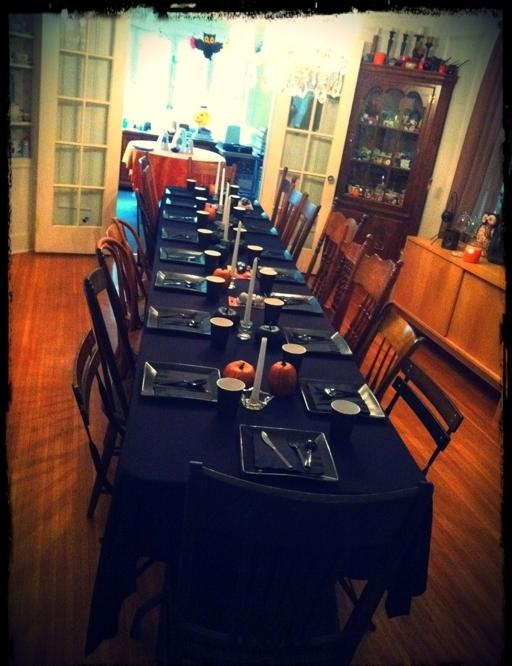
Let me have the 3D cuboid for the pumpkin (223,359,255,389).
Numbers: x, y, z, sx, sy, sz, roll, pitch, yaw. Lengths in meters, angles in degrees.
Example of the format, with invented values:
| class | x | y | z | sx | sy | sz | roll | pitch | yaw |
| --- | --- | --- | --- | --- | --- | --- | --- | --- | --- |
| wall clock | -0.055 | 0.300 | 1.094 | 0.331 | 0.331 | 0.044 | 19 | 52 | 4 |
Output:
| class | x | y | z | sx | sy | sz | roll | pitch | yaw |
| --- | --- | --- | --- | --- | --- | --- | --- | --- | --- |
| pumpkin | -0.037 | 0.089 | 1.106 | 0.056 | 0.070 | 0.064 | 7 | 13 | -13 |

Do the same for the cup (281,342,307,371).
| class | x | y | z | sx | sy | sz | roll | pitch | yaw |
| --- | --- | --- | --- | --- | --- | --- | --- | --- | --- |
| cup | 0.109 | 0.057 | 1.275 | 0.056 | 0.075 | 0.070 | -7 | 40 | -13 |

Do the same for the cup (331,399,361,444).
| class | x | y | z | sx | sy | sz | roll | pitch | yaw |
| --- | --- | --- | --- | --- | --- | --- | --- | --- | --- |
| cup | 0.195 | 0.195 | 1.049 | 0.065 | 0.086 | 0.078 | -4 | 32 | -13 |

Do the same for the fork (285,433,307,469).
| class | x | y | z | sx | sy | sz | roll | pitch | yaw |
| --- | --- | --- | --- | --- | --- | --- | --- | --- | --- |
| fork | 0.089 | 0.243 | 0.933 | 0.015 | 0.015 | 0.093 | 5 | 20 | -9 |

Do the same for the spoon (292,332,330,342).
| class | x | y | z | sx | sy | sz | roll | pitch | yaw |
| --- | --- | --- | --- | --- | --- | --- | --- | --- | --- |
| spoon | 0.184 | 0.014 | 1.551 | 0.061 | 0.026 | 0.055 | -2 | 12 | -5 |

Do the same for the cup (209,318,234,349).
| class | x | y | z | sx | sy | sz | roll | pitch | yaw |
| --- | --- | --- | --- | --- | --- | --- | --- | --- | --- |
| cup | -0.105 | -0.003 | 1.373 | 0.067 | 0.091 | 0.080 | 6 | 25 | -1 |

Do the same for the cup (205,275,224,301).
| class | x | y | z | sx | sy | sz | roll | pitch | yaw |
| --- | --- | --- | --- | --- | --- | --- | --- | --- | --- |
| cup | -0.156 | -0.168 | 1.731 | 0.070 | 0.095 | 0.082 | 7 | 27 | 0 |

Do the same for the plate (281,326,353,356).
| class | x | y | z | sx | sy | sz | roll | pitch | yaw |
| --- | --- | --- | --- | --- | --- | --- | --- | --- | --- |
| plate | 0.212 | 0.026 | 1.534 | 0.150 | 0.033 | 0.132 | 6 | 37 | -13 |

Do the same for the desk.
| class | x | y | z | sx | sy | sz | roll | pitch | yaw |
| --- | --- | --- | --- | --- | --- | --- | --- | --- | --- |
| desk | 1.332 | -0.028 | 2.971 | 0.306 | 0.726 | 1.096 | -2 | 33 | -22 |

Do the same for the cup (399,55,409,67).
| class | x | y | z | sx | sy | sz | roll | pitch | yaw |
| --- | --- | --- | --- | --- | --- | --- | --- | --- | --- |
| cup | 1.441 | -2.636 | 4.357 | 0.089 | 0.111 | 0.091 | -1 | 17 | 0 |

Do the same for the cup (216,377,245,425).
| class | x | y | z | sx | sy | sz | roll | pitch | yaw |
| --- | --- | --- | --- | --- | --- | --- | --- | --- | --- |
| cup | -0.059 | 0.146 | 1.047 | 0.068 | 0.096 | 0.083 | 4 | 28 | -6 |

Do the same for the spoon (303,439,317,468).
| class | x | y | z | sx | sy | sz | roll | pitch | yaw |
| --- | --- | --- | --- | --- | --- | --- | --- | --- | --- |
| spoon | 0.110 | 0.243 | 0.917 | 0.016 | 0.017 | 0.061 | -32 | 17 | 20 |

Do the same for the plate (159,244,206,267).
| class | x | y | z | sx | sy | sz | roll | pitch | yaw |
| --- | --- | --- | --- | --- | --- | --- | --- | --- | --- |
| plate | -0.347 | -0.359 | 2.118 | 0.159 | 0.033 | 0.134 | 7 | 35 | -15 |

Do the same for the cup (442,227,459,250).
| class | x | y | z | sx | sy | sz | roll | pitch | yaw |
| --- | --- | --- | --- | --- | --- | --- | --- | --- | --- |
| cup | 1.657 | -0.803 | 3.821 | 0.155 | 0.192 | 0.113 | 8 | 22 | 13 |

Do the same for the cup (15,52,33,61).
| class | x | y | z | sx | sy | sz | roll | pitch | yaw |
| --- | --- | --- | --- | --- | --- | --- | --- | --- | --- |
| cup | -1.899 | -2.258 | 3.657 | 0.086 | 0.071 | 0.058 | -5 | 50 | -18 |

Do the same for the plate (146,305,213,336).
| class | x | y | z | sx | sy | sz | roll | pitch | yaw |
| --- | --- | --- | --- | --- | --- | --- | --- | --- | --- |
| plate | -0.255 | -0.044 | 1.477 | 0.146 | 0.025 | 0.122 | 6 | 34 | -12 |

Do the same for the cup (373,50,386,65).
| class | x | y | z | sx | sy | sz | roll | pitch | yaw |
| --- | --- | --- | --- | --- | --- | --- | --- | --- | --- |
| cup | 1.184 | -2.658 | 4.373 | 0.112 | 0.138 | 0.122 | 5 | 36 | -3 |

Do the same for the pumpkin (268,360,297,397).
| class | x | y | z | sx | sy | sz | roll | pitch | yaw |
| --- | --- | --- | --- | --- | --- | --- | --- | --- | --- |
| pumpkin | 0.069 | 0.119 | 1.203 | 0.068 | 0.108 | 0.075 | 4 | 14 | 8 |

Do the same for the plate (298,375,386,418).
| class | x | y | z | sx | sy | sz | roll | pitch | yaw |
| --- | --- | --- | --- | --- | --- | --- | --- | --- | --- |
| plate | 0.220 | 0.169 | 1.186 | 0.110 | 0.020 | 0.128 | 0 | 27 | -11 |

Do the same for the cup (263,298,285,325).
| class | x | y | z | sx | sy | sz | roll | pitch | yaw |
| --- | --- | --- | --- | --- | --- | --- | --- | --- | --- |
| cup | 0.058 | -0.090 | 1.507 | 0.063 | 0.087 | 0.077 | 3 | 32 | -3 |

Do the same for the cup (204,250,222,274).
| class | x | y | z | sx | sy | sz | roll | pitch | yaw |
| --- | --- | --- | --- | --- | --- | --- | --- | --- | --- |
| cup | -0.178 | -0.314 | 1.960 | 0.072 | 0.101 | 0.090 | 5 | 30 | 3 |

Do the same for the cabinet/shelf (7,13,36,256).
| class | x | y | z | sx | sy | sz | roll | pitch | yaw |
| --- | --- | --- | --- | --- | --- | --- | --- | --- | --- |
| cabinet/shelf | -1.991 | -1.639 | 3.865 | 0.302 | 1.911 | 0.151 | -5 | 24 | -31 |

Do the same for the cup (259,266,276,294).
| class | x | y | z | sx | sy | sz | roll | pitch | yaw |
| --- | --- | --- | --- | --- | --- | --- | --- | --- | --- |
| cup | 0.035 | -0.217 | 1.797 | 0.081 | 0.112 | 0.097 | 2 | 34 | -1 |
